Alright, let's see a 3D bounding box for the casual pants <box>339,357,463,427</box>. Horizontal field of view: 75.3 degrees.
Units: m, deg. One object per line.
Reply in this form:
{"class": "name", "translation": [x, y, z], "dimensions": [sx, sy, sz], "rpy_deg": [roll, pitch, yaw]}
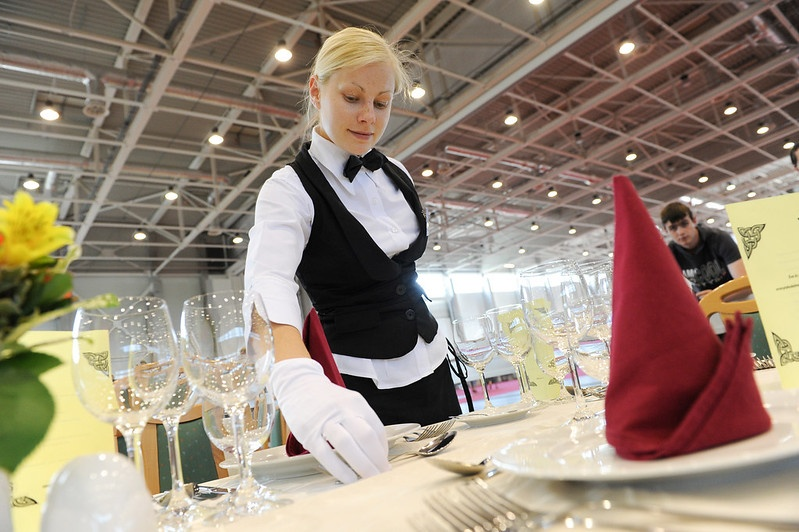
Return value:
{"class": "casual pants", "translation": [0.013, 0.310, 1.324], "dimensions": [0.210, 0.201, 0.196], "rpy_deg": [-14, 2, 16]}

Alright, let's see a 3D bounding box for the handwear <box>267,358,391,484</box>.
{"class": "handwear", "translation": [-0.102, 0.232, 0.797], "dimensions": [0.131, 0.071, 0.233], "rpy_deg": [-4, 31, -38]}

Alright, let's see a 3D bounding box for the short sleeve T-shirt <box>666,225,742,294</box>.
{"class": "short sleeve T-shirt", "translation": [1.785, -0.046, 3.010], "dimensions": [0.391, 0.392, 0.170], "rpy_deg": [-26, -24, -36]}
